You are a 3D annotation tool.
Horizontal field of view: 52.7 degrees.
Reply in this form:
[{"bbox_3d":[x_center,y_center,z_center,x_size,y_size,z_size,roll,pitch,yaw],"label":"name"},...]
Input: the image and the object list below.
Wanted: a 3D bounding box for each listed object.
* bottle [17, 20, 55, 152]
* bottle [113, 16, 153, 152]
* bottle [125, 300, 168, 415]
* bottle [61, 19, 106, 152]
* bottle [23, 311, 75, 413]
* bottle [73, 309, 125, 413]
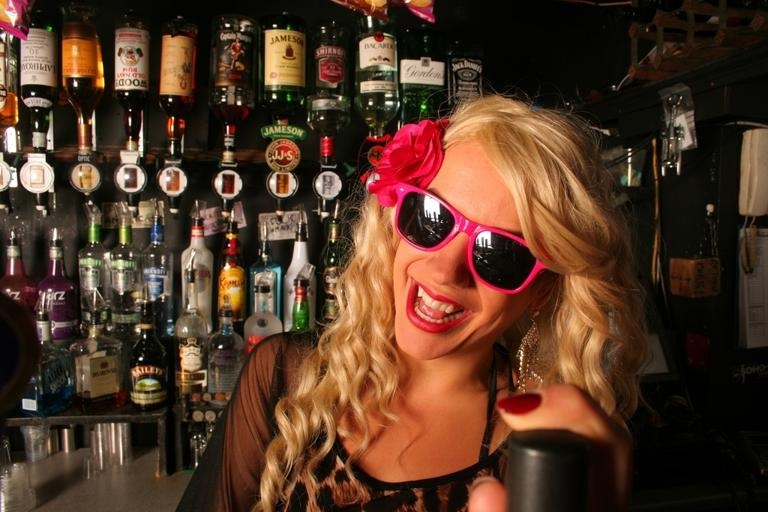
[{"bbox_3d":[-1.467,-0.712,3.272,0.133,0.502,0.187,-1,-2,-31],"label":"bottle"},{"bbox_3d":[-1.096,-0.745,3.343,0.138,0.559,0.172,-2,-2,-19],"label":"bottle"},{"bbox_3d":[-1.011,0.419,3.300,0.155,0.458,0.128,-2,-2,-19],"label":"bottle"},{"bbox_3d":[-1.307,-0.716,3.337,0.163,0.554,0.180,-2,-2,-20],"label":"bottle"},{"bbox_3d":[-1.422,0.447,3.246,0.193,0.433,0.177,-2,-2,0],"label":"bottle"},{"bbox_3d":[-1.225,0.439,3.288,0.204,0.415,0.091,-2,-2,-23],"label":"bottle"}]
